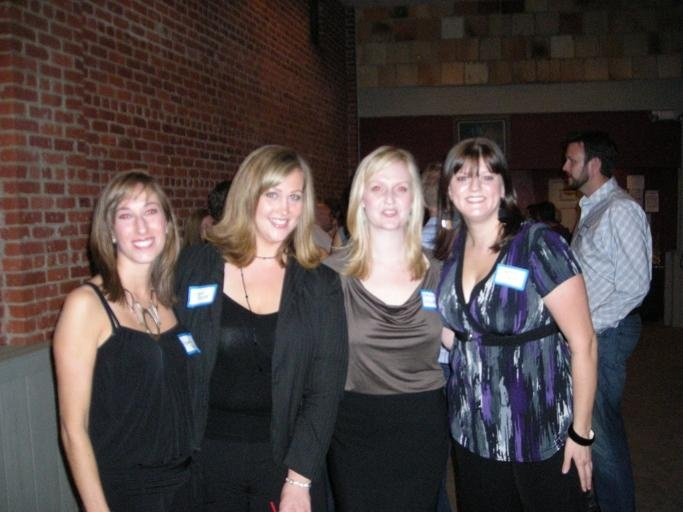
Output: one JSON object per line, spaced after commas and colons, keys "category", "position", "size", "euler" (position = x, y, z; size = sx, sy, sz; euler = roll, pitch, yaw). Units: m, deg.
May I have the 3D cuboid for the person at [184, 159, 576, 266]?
{"category": "person", "position": [0.115, -0.266, 3.636], "size": [1.812, 0.760, 1.442], "euler": [0, -8, 0]}

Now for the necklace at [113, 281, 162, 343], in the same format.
{"category": "necklace", "position": [-0.919, 0.255, 2.671], "size": [0.170, 0.284, 0.082], "euler": [-19, -21, -38]}
